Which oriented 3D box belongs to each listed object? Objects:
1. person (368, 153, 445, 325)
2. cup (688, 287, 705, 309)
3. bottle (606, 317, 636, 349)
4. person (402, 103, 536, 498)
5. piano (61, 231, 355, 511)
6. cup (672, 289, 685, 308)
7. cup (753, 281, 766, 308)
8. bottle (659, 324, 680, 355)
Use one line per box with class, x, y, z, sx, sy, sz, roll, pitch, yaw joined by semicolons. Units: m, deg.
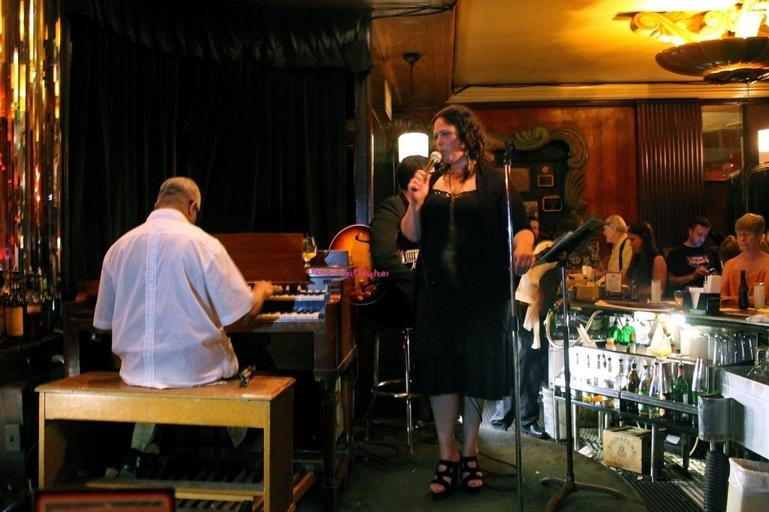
person;0.112;-0.041;6.989;0.714;1.481;0.221;4;6;27
cup;2.750;0.390;6.744;0.149;0.232;0.159;4;-1;0
bottle;2.320;0.770;7.451;0.104;0.301;0.280;0;0;-29
person;0.619;0.362;5.809;0.957;2.359;0.465;-2;1;2
piano;-1.372;0.925;5.825;2.104;2.041;0.940;-1;-4;11
cup;2.853;0.430;7.384;0.155;0.183;0.164;0;-5;0
cup;3.375;0.366;6.841;0.113;0.217;0.069;-2;1;-6
bottle;2.636;0.762;6.974;0.137;0.172;0.145;-2;1;0
